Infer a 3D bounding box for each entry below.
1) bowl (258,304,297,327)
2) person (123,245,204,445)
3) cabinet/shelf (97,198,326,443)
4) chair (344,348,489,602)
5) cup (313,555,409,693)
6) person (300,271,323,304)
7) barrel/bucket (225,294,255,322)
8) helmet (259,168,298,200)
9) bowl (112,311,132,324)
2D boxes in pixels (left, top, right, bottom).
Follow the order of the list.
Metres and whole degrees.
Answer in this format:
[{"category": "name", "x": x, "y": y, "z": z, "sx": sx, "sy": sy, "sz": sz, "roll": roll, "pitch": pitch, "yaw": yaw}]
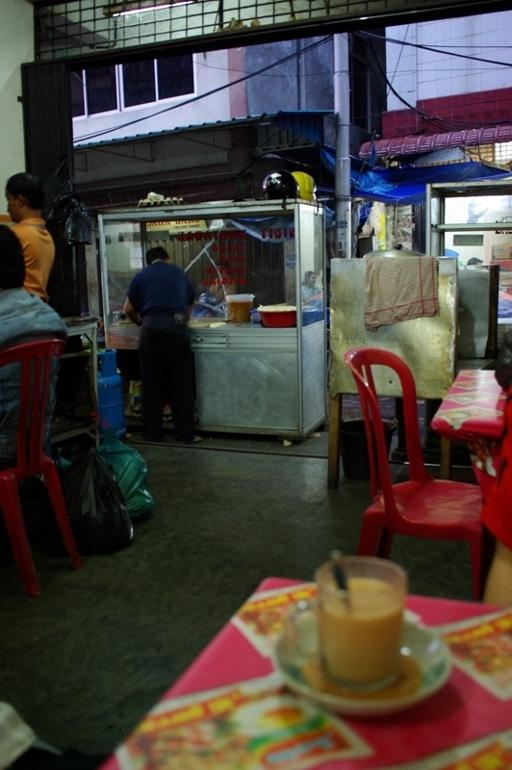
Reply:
[{"category": "bowl", "x": 0.216, "y": -0.703, "z": 5.967, "sx": 0.453, "sy": 0.226, "sz": 0.294, "roll": 1, "pitch": 8, "yaw": 14}, {"category": "person", "x": -1.001, "y": -0.352, "z": 6.143, "sx": 0.682, "sy": 1.897, "sz": 0.399, "roll": -1, "pitch": 7, "yaw": -1}, {"category": "cabinet/shelf", "x": -0.443, "y": -0.656, "z": 6.279, "sx": 2.270, "sy": 2.634, "sz": 1.505, "roll": 4, "pitch": 13, "yaw": 22}, {"category": "chair", "x": 0.717, "y": 0.428, "z": 2.426, "sx": 0.642, "sy": 1.042, "sz": 0.590, "roll": 1, "pitch": 13, "yaw": 14}, {"category": "cup", "x": 0.131, "y": 0.284, "z": 0.708, "sx": 0.090, "sy": 0.133, "sz": 0.147, "roll": -3, "pitch": 2, "yaw": 10}, {"category": "person", "x": 0.594, "y": -1.037, "z": 6.196, "sx": 0.119, "sy": 0.323, "sz": 0.837, "roll": 1, "pitch": 8, "yaw": 13}, {"category": "barrel/bucket", "x": -0.170, "y": -0.844, "z": 6.491, "sx": 0.302, "sy": 0.271, "sz": 0.308, "roll": -1, "pitch": 4, "yaw": 0}, {"category": "helmet", "x": 0.254, "y": -2.157, "z": 6.269, "sx": 0.357, "sy": 0.362, "sz": 0.388, "roll": -1, "pitch": 8, "yaw": 2}, {"category": "bowl", "x": -1.585, "y": -0.787, "z": 6.787, "sx": 0.176, "sy": 0.152, "sz": 0.180, "roll": 1, "pitch": 1, "yaw": 0}]
